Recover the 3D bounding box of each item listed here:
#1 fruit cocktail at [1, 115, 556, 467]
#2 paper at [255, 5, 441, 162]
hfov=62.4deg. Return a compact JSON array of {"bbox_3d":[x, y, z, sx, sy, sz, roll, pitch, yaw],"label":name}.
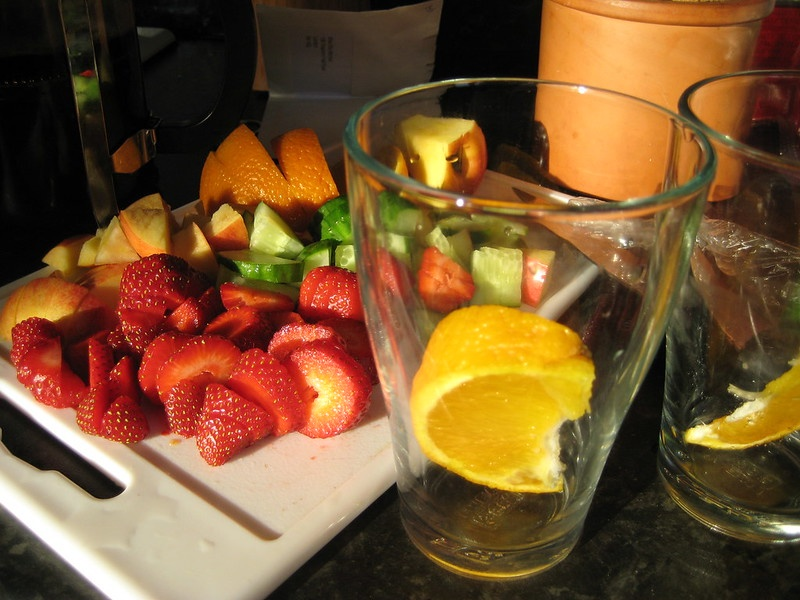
[{"bbox_3d":[-0.144,0.030,0.769,0.441,0.132,0.358,-18,42,-17],"label":"fruit cocktail"},{"bbox_3d":[-0.094,-0.464,1.287,0.322,0.379,0.089,0,35,-3],"label":"paper"}]
